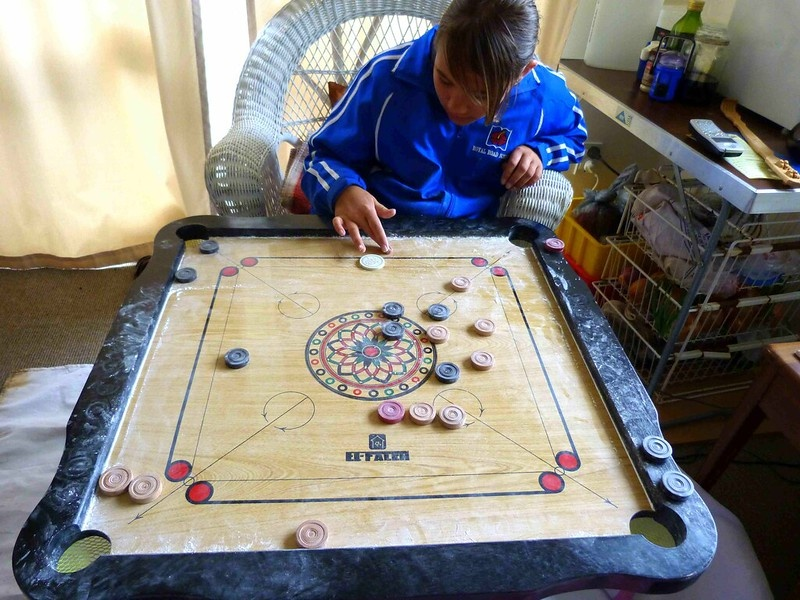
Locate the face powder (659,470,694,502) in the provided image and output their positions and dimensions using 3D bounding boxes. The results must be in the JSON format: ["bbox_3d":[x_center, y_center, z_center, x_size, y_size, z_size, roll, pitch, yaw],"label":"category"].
[{"bbox_3d":[0.557,0.373,1.131,0.056,0.017,0.054,-1,38,-3],"label":"face powder"}]

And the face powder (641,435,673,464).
[{"bbox_3d":[0.538,0.313,1.177,0.052,0.017,0.050,-9,41,-8],"label":"face powder"}]

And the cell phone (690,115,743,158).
[{"bbox_3d":[0.964,-0.513,1.728,0.097,0.042,0.179,-14,47,-6],"label":"cell phone"}]

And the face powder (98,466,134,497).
[{"bbox_3d":[-0.555,0.359,1.106,0.062,0.025,0.052,-1,38,-7],"label":"face powder"}]

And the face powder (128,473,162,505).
[{"bbox_3d":[-0.494,0.369,1.085,0.049,0.013,0.047,11,45,8],"label":"face powder"}]

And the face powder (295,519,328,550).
[{"bbox_3d":[-0.160,0.442,1.045,0.057,0.019,0.053,4,37,-1],"label":"face powder"}]
